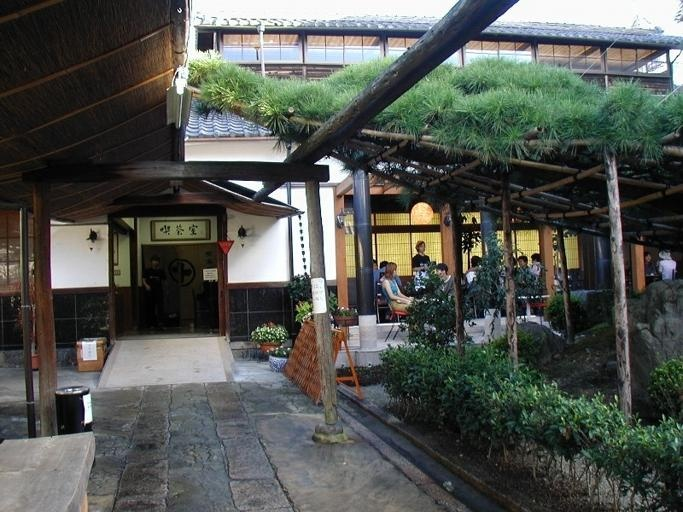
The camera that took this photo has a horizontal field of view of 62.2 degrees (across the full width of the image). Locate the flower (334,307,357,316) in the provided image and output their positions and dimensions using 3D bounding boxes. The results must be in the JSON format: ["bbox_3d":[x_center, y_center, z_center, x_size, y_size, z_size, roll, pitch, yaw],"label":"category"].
[{"bbox_3d":[0.090,1.137,11.442,0.434,0.105,0.435,-4,5,2],"label":"flower"}]

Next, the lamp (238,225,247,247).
[{"bbox_3d":[-2.190,-0.431,12.461,0.198,0.485,0.100,-4,4,-12],"label":"lamp"}]

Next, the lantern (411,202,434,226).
[{"bbox_3d":[1.865,-0.993,13.172,0.591,0.761,0.623,-3,2,8],"label":"lantern"}]

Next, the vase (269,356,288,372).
[{"bbox_3d":[-1.218,2.049,10.669,0.273,0.191,0.292,5,-11,-25],"label":"vase"}]

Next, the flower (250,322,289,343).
[{"bbox_3d":[-1.497,1.621,11.779,0.703,0.373,0.717,-8,6,-39],"label":"flower"}]

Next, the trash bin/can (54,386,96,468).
[{"bbox_3d":[-3.004,1.736,6.333,0.333,0.589,0.340,7,10,26],"label":"trash bin/can"}]

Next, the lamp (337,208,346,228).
[{"bbox_3d":[-0.015,-0.877,13.407,0.195,0.458,0.265,-1,5,33],"label":"lamp"}]
